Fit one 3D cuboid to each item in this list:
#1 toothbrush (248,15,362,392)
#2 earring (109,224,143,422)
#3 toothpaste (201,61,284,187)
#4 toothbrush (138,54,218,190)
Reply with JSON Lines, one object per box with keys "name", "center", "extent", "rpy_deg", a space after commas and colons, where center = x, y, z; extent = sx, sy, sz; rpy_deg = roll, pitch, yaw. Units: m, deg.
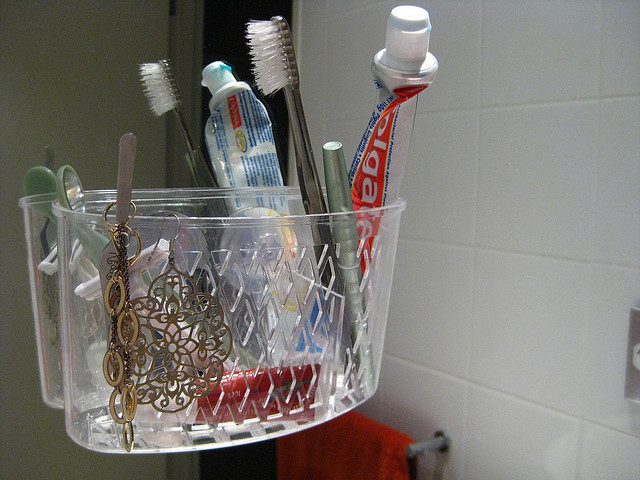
{"name": "toothbrush", "center": [-0.015, -0.035, 0.801], "extent": [0.103, 0.378, 0.059], "rpy_deg": [-2, 3, 0]}
{"name": "earring", "center": [-0.184, 0.083, 0.741], "extent": [0.013, 0.199, 0.040], "rpy_deg": [12, 17, 34]}
{"name": "toothpaste", "center": [-0.086, -0.128, 0.873], "extent": [0.084, 0.139, 0.028], "rpy_deg": [-3, 3, -7]}
{"name": "toothbrush", "center": [-0.159, -0.118, 0.854], "extent": [0.044, 0.164, 0.032], "rpy_deg": [-24, -29, 16]}
